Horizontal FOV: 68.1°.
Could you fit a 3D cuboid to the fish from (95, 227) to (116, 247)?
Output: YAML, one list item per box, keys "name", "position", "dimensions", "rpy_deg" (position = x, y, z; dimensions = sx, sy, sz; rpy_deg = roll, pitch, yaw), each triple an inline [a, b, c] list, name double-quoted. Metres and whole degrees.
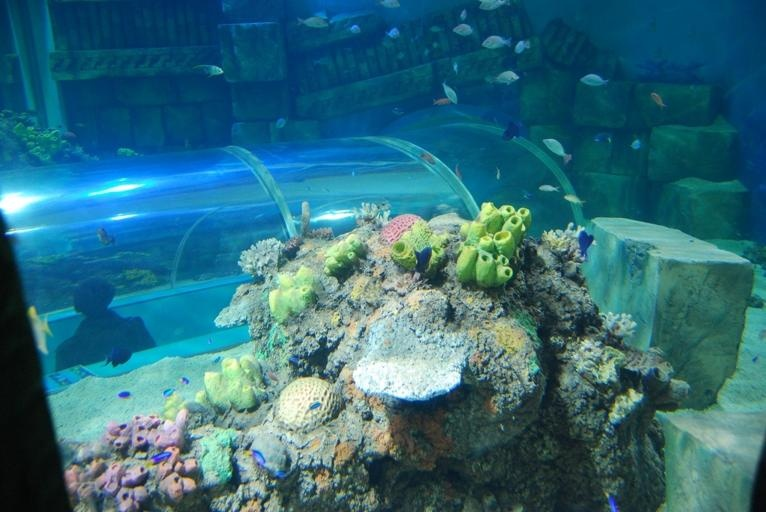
- name: "fish"
  position: [-4.266, -0.290, 8.669]
  dimensions: [0.192, 0.263, 0.072]
  rpy_deg: [-34, 29, -10]

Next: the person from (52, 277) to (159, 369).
- name: "person"
  position: [-4.515, 1.061, 9.024]
  dimensions: [1.271, 1.706, 0.587]
  rpy_deg: [-1, 17, 7]

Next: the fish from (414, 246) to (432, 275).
- name: "fish"
  position: [0.511, 0.034, 7.132]
  dimensions: [0.240, 0.325, 0.151]
  rpy_deg: [-3, 20, 22]

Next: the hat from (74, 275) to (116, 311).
- name: "hat"
  position: [-4.589, 0.620, 9.065]
  dimensions: [0.575, 0.578, 0.471]
  rpy_deg: [15, 5, 25]
